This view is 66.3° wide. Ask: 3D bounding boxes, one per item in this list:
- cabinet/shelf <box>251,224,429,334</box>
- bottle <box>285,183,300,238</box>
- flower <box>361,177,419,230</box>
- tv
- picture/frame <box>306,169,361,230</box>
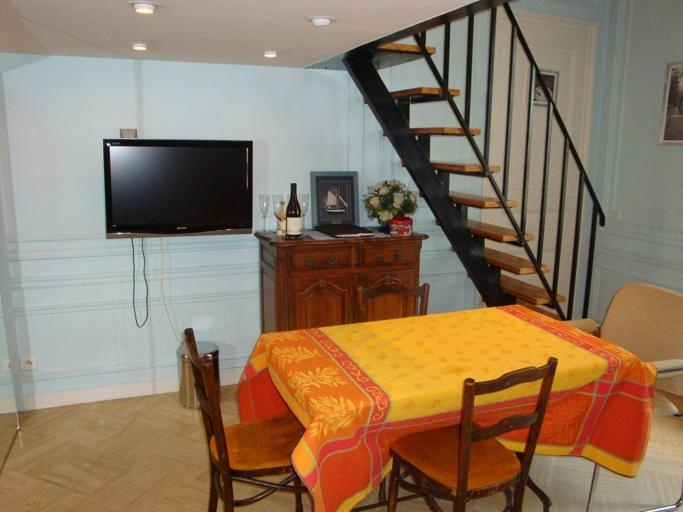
[{"bbox_3d":[0.046,0.367,4.449,1.245,1.207,0.482,-3,20,-10],"label":"cabinet/shelf"},{"bbox_3d":[-0.390,-0.364,4.137,0.138,0.408,0.273,-6,8,-5],"label":"bottle"},{"bbox_3d":[0.395,-0.470,4.423,0.426,0.393,0.416,-7,13,-22],"label":"flower"},{"bbox_3d":[-1.276,-0.527,3.914,0.789,0.516,0.058,-5,13,-22],"label":"tv"},{"bbox_3d":[-0.064,-0.479,4.428,0.448,0.458,0.027,-6,7,-30],"label":"picture/frame"}]
